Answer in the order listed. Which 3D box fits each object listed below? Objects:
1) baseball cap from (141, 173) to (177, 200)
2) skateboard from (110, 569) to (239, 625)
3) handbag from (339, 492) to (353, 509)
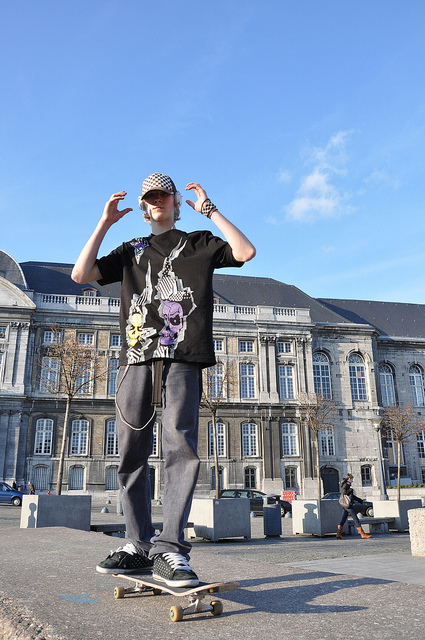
[{"bbox_3d":[-0.325,-0.795,2.764,0.209,0.130,0.119,-3,-15,0],"label":"baseball cap"},{"bbox_3d":[-0.190,1.045,1.946,0.228,0.139,0.895,9,-17,-29],"label":"skateboard"},{"bbox_3d":[3.645,4.900,12.858,0.266,0.474,0.474,25,-27,-26],"label":"handbag"}]
